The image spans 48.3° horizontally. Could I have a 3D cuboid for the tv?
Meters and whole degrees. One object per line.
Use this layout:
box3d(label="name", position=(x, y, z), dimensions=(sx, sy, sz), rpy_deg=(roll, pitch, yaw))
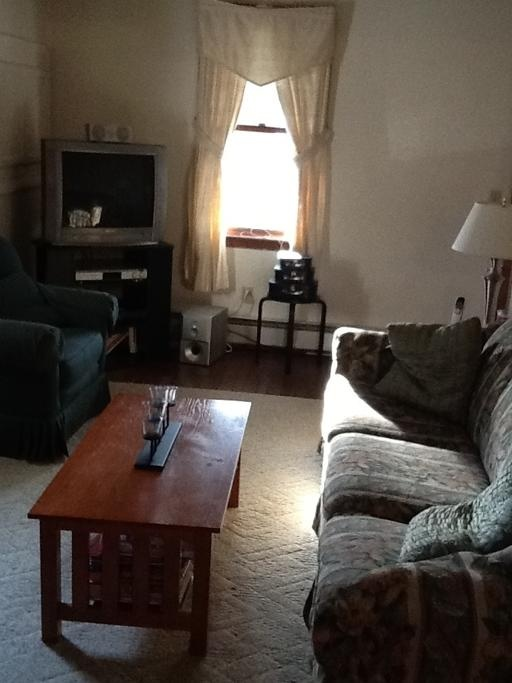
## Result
box3d(label="tv", position=(-1.063, -1.091, 3.978), dimensions=(0.831, 0.716, 0.498), rpy_deg=(-4, 37, -22))

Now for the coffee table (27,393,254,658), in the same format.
box3d(label="coffee table", position=(-0.326, 0.536, 1.952), dimensions=(0.537, 0.401, 0.953), rpy_deg=(3, 14, -3))

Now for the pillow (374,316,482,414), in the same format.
box3d(label="pillow", position=(0.752, 0.108, 2.375), dimensions=(0.386, 0.406, 0.119), rpy_deg=(3, 1, 39))
